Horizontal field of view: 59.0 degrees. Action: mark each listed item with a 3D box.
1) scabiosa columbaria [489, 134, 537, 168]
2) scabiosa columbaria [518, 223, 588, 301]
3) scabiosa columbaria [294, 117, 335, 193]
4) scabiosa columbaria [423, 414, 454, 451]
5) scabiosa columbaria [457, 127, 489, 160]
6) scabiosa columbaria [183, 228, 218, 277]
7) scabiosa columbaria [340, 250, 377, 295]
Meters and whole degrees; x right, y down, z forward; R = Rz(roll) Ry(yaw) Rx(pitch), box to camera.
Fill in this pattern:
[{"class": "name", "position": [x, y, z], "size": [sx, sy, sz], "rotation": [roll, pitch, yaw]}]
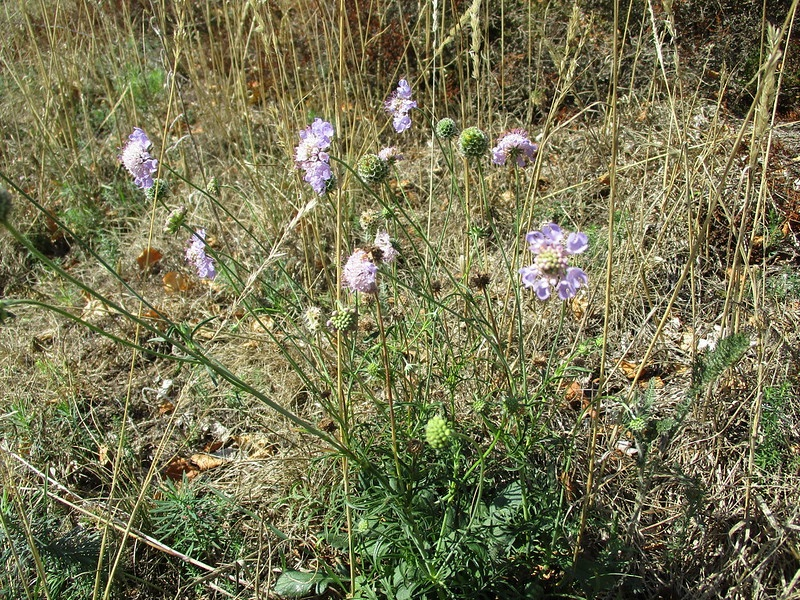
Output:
[{"class": "scabiosa columbaria", "position": [0.553, -0.721, 3.466], "size": [0.198, 0.165, 0.208], "rotation": [1, 23, 30]}, {"class": "scabiosa columbaria", "position": [0.641, -0.127, 2.895], "size": [0.281, 0.149, 0.302], "rotation": [-23, 72, 5]}, {"class": "scabiosa columbaria", "position": [-0.374, -0.646, 3.184], "size": [0.179, 0.272, 0.290], "rotation": [-18, 36, -8]}, {"class": "scabiosa columbaria", "position": [0.161, 0.555, 2.950], "size": [0.093, 0.117, 0.121], "rotation": [-24, 66, 7]}, {"class": "scabiosa columbaria", "position": [0.343, -0.712, 3.324], "size": [0.136, 0.168, 0.156], "rotation": [-3, 31, 6]}, {"class": "scabiosa columbaria", "position": [-1.162, -0.265, 4.076], "size": [0.140, 0.300, 0.282], "rotation": [-11, 19, -4]}, {"class": "scabiosa columbaria", "position": [-0.157, -0.119, 3.106], "size": [0.120, 0.190, 0.162], "rotation": [3, -8, -39]}]
